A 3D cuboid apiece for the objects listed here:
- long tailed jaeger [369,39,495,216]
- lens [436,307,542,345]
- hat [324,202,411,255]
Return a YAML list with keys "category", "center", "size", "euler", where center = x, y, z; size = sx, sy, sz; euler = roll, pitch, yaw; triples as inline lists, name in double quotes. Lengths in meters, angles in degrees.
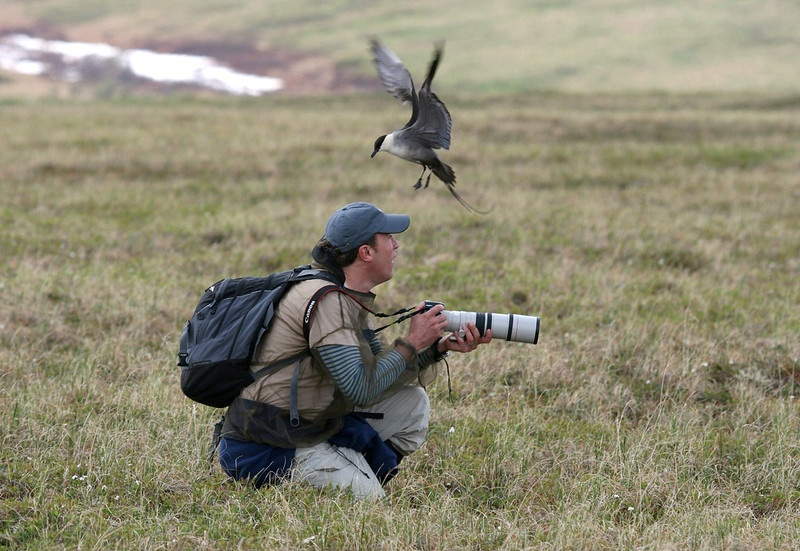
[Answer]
- category: "long tailed jaeger"
  center: [0.292, -2.068, 17.362]
  size: [1.702, 1.809, 2.790]
  euler: [7, -1, 4]
- category: "lens"
  center: [1.190, 0.606, 16.069]
  size: [1.058, 0.514, 0.831]
  euler: [15, 7, 0]
- category: "hat"
  center: [-0.466, -0.634, 15.863]
  size: [1.088, 0.761, 0.760]
  euler: [-4, 17, -30]
